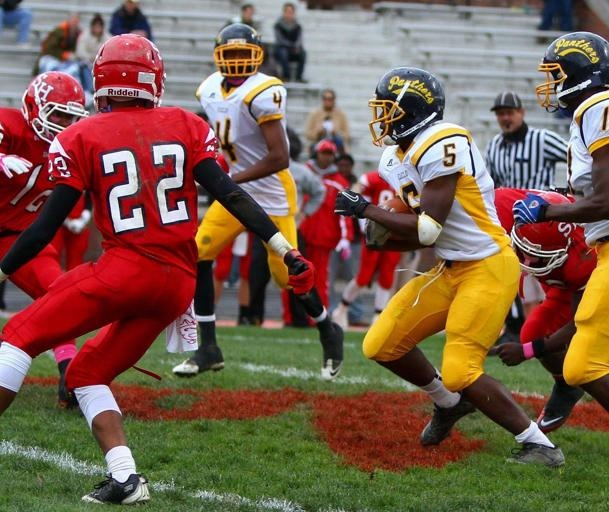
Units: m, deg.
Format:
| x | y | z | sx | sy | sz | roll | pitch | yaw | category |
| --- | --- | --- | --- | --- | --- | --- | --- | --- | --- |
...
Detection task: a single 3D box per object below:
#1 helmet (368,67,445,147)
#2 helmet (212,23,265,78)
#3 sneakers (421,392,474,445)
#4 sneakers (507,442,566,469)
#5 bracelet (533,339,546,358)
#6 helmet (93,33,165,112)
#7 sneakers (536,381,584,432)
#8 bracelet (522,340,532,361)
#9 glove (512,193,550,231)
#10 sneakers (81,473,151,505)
| x | y | z | sx | sy | sz | roll | pitch | yaw | category |
| --- | --- | --- | --- | --- | --- | --- | --- | --- | --- |
| 0.501 | -0.734 | 4.539 | 0.403 | 0.354 | 0.347 | -1 | 8 | 8 | helmet |
| -0.398 | -1.253 | 5.672 | 0.270 | 0.269 | 0.343 | -1 | 20 | 0 | helmet |
| 0.758 | 0.859 | 4.852 | 0.156 | 0.303 | 0.108 | 44 | 4 | -24 | sneakers |
| 1.146 | 0.982 | 4.587 | 0.326 | 0.135 | 0.110 | 5 | -17 | 4 | sneakers |
| 1.191 | 0.465 | 4.699 | 0.070 | 0.081 | 0.061 | -16 | 41 | -16 | bracelet |
| -0.784 | -0.842 | 4.189 | 0.270 | 0.294 | 0.359 | 4 | 32 | -7 | helmet |
| 1.400 | 0.833 | 5.051 | 0.148 | 0.325 | 0.110 | 20 | 17 | -39 | sneakers |
| 1.138 | 0.485 | 4.728 | 0.073 | 0.067 | 0.072 | -8 | 20 | 7 | bracelet |
| 1.104 | -0.210 | 4.544 | 0.156 | 0.136 | 0.066 | -7 | -43 | 36 | glove |
| -0.824 | 0.983 | 3.919 | 0.320 | 0.144 | 0.116 | 2 | -11 | 4 | sneakers |
